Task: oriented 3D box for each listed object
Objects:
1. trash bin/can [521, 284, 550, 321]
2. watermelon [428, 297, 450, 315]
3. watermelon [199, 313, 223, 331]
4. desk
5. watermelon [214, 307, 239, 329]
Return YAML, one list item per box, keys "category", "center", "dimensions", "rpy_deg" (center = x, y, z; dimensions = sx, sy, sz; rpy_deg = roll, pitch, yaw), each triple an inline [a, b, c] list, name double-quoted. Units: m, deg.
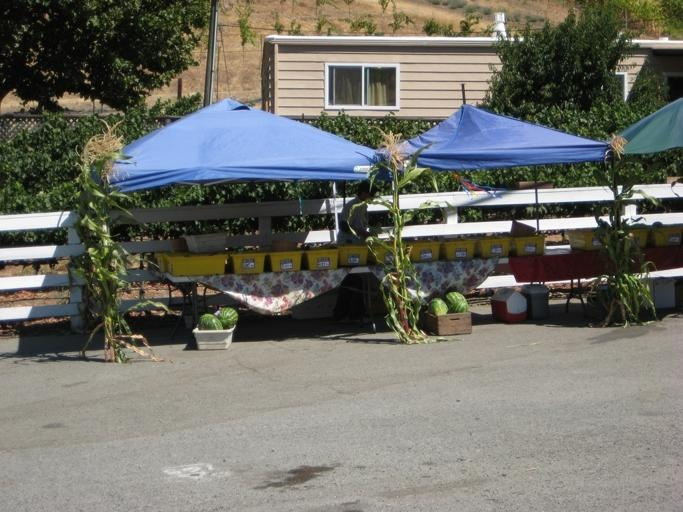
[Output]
- category: "trash bin/can"
  center: [2.765, 0.665, 12.181]
  dimensions: [0.405, 0.640, 0.438]
  rpy_deg: [-2, 2, -3]
- category: "watermelon"
  center: [1.318, 0.678, 11.209]
  dimensions: [0.250, 0.195, 0.290]
  rpy_deg: [-5, 10, -19]
- category: "watermelon"
  center: [-1.737, 0.860, 10.857]
  dimensions: [0.237, 0.161, 0.213]
  rpy_deg: [22, 17, 36]
- category: "desk"
  center: [1.060, 0.257, 11.351]
  dimensions: [5.547, 1.116, 1.173]
  rpy_deg: [-1, -6, -22]
- category: "watermelon"
  center: [-1.534, 0.794, 11.077]
  dimensions: [0.251, 0.265, 0.314]
  rpy_deg: [28, 16, 16]
